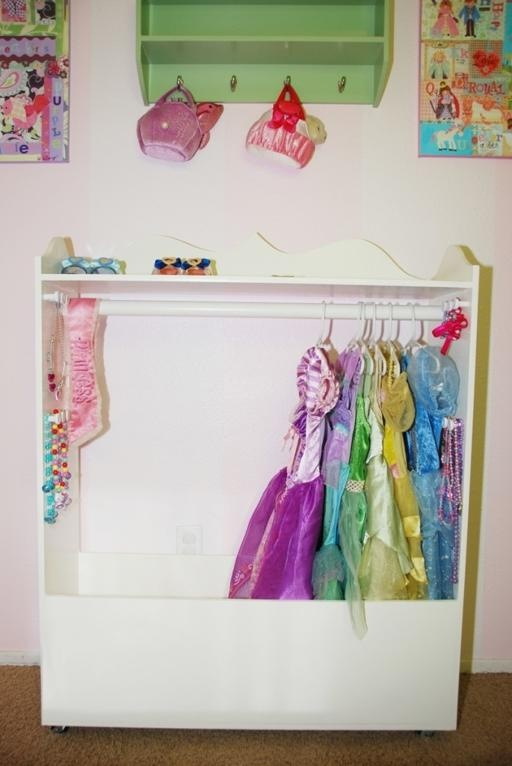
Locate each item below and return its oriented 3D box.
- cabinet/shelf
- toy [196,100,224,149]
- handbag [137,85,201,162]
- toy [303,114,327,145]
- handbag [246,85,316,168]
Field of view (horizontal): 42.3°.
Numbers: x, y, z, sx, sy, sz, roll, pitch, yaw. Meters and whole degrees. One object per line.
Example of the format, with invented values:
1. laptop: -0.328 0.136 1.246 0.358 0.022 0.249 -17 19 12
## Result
1. cabinet/shelf: 0.020 0.300 1.883 1.310 1.559 0.501 0 0 -1
2. toy: -0.145 -0.818 2.100 0.086 0.128 0.041 10 7 22
3. handbag: -0.256 -0.788 1.998 0.192 0.227 0.123 9 6 5
4. toy: 0.177 -0.777 2.031 0.025 0.090 0.083 -11 -26 29
5. handbag: 0.077 -0.788 2.007 0.155 0.217 0.115 18 26 -1
